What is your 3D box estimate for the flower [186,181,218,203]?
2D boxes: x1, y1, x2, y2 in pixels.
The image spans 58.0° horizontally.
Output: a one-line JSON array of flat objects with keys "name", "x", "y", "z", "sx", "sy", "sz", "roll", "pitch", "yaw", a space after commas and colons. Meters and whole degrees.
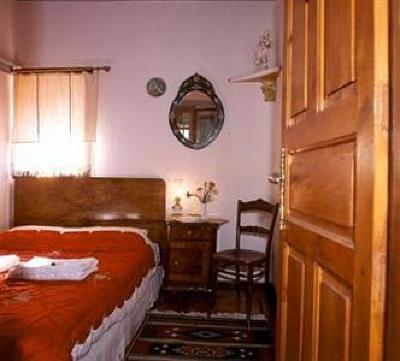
[{"name": "flower", "x": 0.023, "y": 0.139, "z": 3.468, "sx": 0.228, "sy": 0.190, "sz": 0.236, "roll": -3, "pitch": -5, "yaw": -2}]

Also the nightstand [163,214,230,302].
[{"name": "nightstand", "x": 0.003, "y": 0.676, "z": 3.320, "sx": 0.597, "sy": 0.771, "sz": 0.587, "roll": 0, "pitch": -2, "yaw": 6}]

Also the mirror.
[{"name": "mirror", "x": -0.013, "y": -0.704, "z": 3.600, "sx": 0.697, "sy": 1.041, "sz": 0.078, "roll": 0, "pitch": 0, "yaw": 3}]
